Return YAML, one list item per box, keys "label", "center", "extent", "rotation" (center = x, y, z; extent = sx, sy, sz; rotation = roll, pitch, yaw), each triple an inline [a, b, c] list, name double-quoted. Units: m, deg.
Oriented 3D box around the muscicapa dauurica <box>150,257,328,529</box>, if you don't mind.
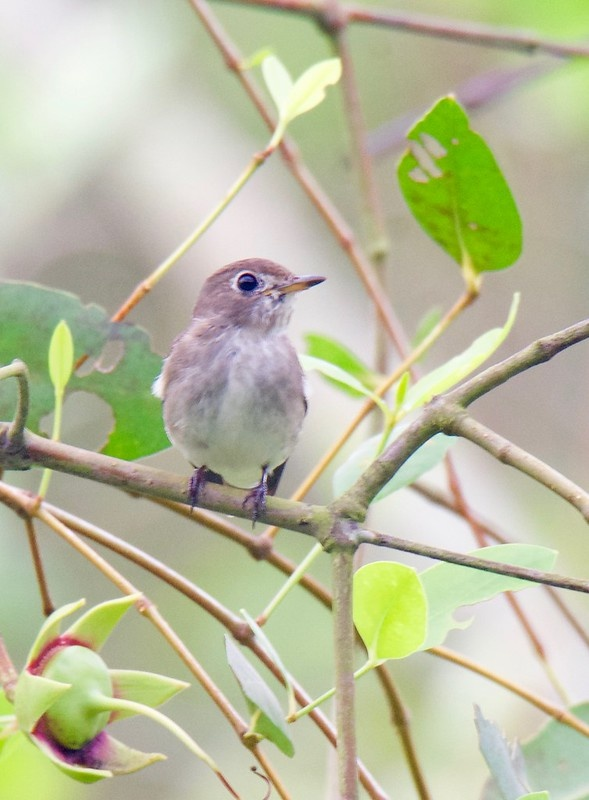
- label: "muscicapa dauurica"
  center: [-0.171, -0.055, 3.018]
  extent: [0.534, 0.903, 0.735]
  rotation: [5, -91, -11]
